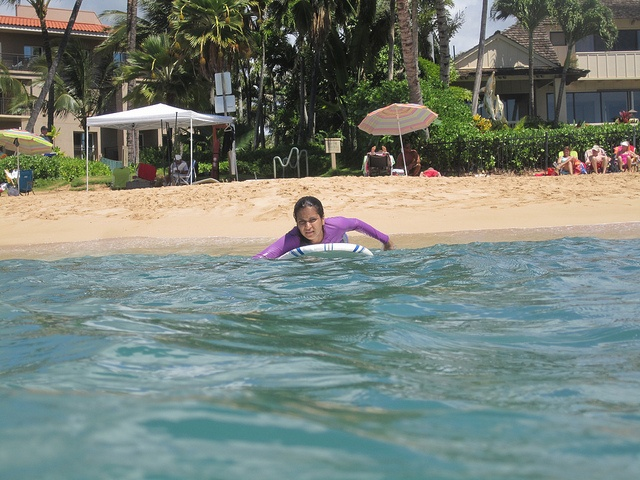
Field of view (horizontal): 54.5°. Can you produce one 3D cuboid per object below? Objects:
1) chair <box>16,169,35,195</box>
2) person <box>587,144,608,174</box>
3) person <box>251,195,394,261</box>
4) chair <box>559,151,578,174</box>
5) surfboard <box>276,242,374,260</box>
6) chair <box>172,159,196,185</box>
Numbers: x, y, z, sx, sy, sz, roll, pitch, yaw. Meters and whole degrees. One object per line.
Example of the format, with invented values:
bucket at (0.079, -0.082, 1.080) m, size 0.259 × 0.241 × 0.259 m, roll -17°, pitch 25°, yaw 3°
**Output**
chair at (-9.167, -1.826, 19.024) m, size 0.650 × 0.813 × 0.749 m, roll 1°, pitch 4°, yaw -4°
person at (7.958, -2.324, 17.792) m, size 0.517 × 0.779 × 1.141 m, roll 2°, pitch 5°, yaw 12°
person at (0.023, -0.211, 6.216) m, size 1.345 × 0.746 × 0.636 m, roll 2°, pitch 48°, yaw 13°
chair at (7.131, -2.316, 17.881) m, size 0.490 × 0.836 × 1.846 m, roll 3°, pitch 5°, yaw 21°
surfboard at (0.042, 0.111, 5.922) m, size 0.898 × 0.184 × 0.389 m, roll 0°, pitch 5°, yaw -1°
chair at (-4.172, -2.156, 19.061) m, size 0.702 × 0.874 × 1.691 m, roll -1°, pitch 5°, yaw -15°
